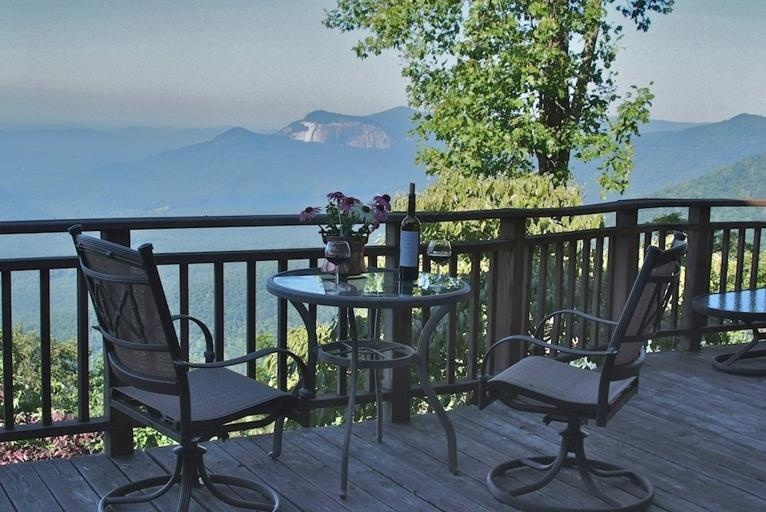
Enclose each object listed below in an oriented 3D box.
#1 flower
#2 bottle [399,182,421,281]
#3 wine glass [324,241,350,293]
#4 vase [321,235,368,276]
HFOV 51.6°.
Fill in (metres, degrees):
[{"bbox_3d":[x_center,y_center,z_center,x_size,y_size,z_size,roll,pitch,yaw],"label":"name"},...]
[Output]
[{"bbox_3d":[-0.257,-0.184,5.752,0.619,0.552,0.517,-2,6,1],"label":"flower"},{"bbox_3d":[0.188,-0.171,5.711,0.138,0.703,0.297,0,6,1],"label":"bottle"},{"bbox_3d":[-0.319,0.053,5.525,0.165,0.323,0.347,0,5,-4],"label":"wine glass"},{"bbox_3d":[-0.291,-0.009,5.774,0.354,0.367,0.370,0,-1,-19],"label":"vase"}]
